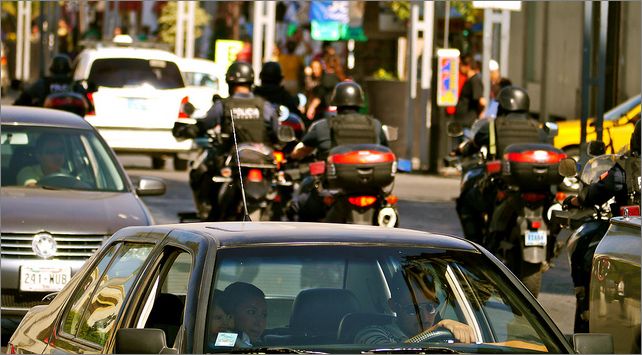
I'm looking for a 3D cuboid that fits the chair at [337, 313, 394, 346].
[{"bbox_3d":[0.456,1.619,14.435,0.715,0.281,0.286,-9,11,-42],"label":"chair"}]

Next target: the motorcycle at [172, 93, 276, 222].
[{"bbox_3d":[-1.451,-0.338,20.555,1.583,2.086,0.638,3,10,28],"label":"motorcycle"}]

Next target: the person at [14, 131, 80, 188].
[{"bbox_3d":[-3.882,-0.256,18.811,0.958,0.759,0.529,-6,6,-43],"label":"person"}]

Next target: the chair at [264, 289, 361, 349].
[{"bbox_3d":[0.015,1.526,14.384,0.680,0.449,0.697,1,-10,-6],"label":"chair"}]

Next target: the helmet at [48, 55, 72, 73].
[{"bbox_3d":[-5.701,-2.510,29.006,0.373,0.458,0.484,-1,19,-6],"label":"helmet"}]

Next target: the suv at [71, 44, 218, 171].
[{"bbox_3d":[-4.122,-1.736,29.503,2.110,1.828,3.558,0,7,-9],"label":"suv"}]

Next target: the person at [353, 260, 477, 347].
[{"bbox_3d":[1.076,1.509,14.779,1.120,0.690,1.351,-4,1,-1],"label":"person"}]
